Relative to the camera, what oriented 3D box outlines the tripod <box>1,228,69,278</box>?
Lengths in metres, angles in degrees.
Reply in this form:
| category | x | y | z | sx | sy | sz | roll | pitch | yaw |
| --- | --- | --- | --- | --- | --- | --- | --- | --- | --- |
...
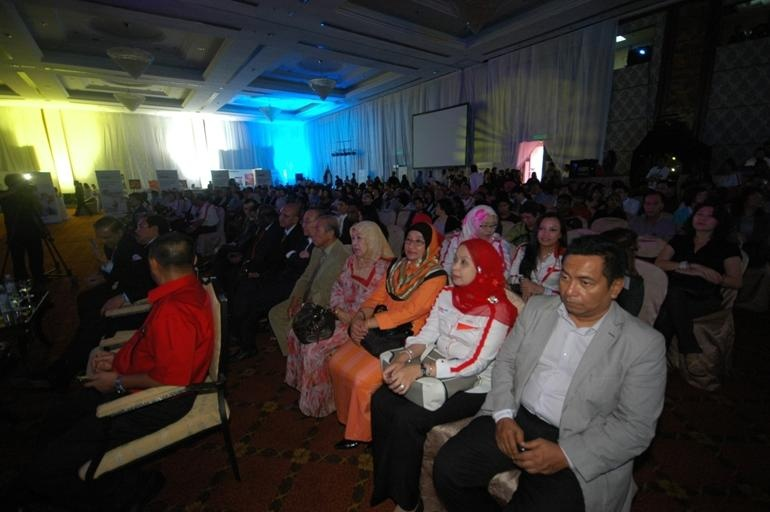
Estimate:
| category | x | y | z | sx | sy | sz | roll | pitch | yaw |
| --- | --- | --- | --- | --- | --- | --- | --- | --- | --- |
| tripod | -7.356 | -0.014 | 9.262 | 0.878 | 1.112 | 0.902 | 8 | 17 | 16 |

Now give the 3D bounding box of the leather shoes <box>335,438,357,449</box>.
| category | x | y | z | sx | sy | sz | roll | pitch | yaw |
| --- | --- | --- | --- | --- | --- | --- | --- | --- | --- |
| leather shoes | -0.449 | 2.190 | 5.155 | 0.319 | 0.129 | 0.104 | 0 | 17 | 1 |

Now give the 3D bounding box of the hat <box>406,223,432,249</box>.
| category | x | y | z | sx | sy | sz | roll | pitch | yaw |
| --- | --- | --- | --- | --- | --- | --- | --- | --- | --- |
| hat | 0.395 | -0.248 | 5.285 | 0.241 | 0.252 | 0.315 | 9 | -1 | -7 |

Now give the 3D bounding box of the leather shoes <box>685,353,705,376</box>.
| category | x | y | z | sx | sy | sz | roll | pitch | yaw |
| --- | --- | --- | --- | --- | --- | --- | --- | --- | --- |
| leather shoes | 3.969 | 1.402 | 5.681 | 0.211 | 0.259 | 0.089 | 3 | -12 | -4 |

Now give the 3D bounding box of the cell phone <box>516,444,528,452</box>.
| category | x | y | z | sx | sy | sz | roll | pitch | yaw |
| --- | --- | --- | --- | --- | --- | --- | --- | --- | --- |
| cell phone | 1.319 | 1.848 | 4.267 | 0.070 | 0.065 | 0.072 | 9 | 22 | 36 |

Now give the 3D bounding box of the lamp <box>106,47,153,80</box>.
| category | x | y | z | sx | sy | sz | roll | pitch | yaw |
| --- | --- | --- | --- | --- | --- | --- | --- | --- | --- |
| lamp | -6.566 | -5.097 | 11.490 | 0.814 | 0.382 | 0.789 | -3 | 6 | -7 |

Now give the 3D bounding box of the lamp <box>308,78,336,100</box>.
| category | x | y | z | sx | sy | sz | roll | pitch | yaw |
| --- | --- | --- | --- | --- | --- | --- | --- | --- | --- |
| lamp | -1.972 | -5.450 | 14.331 | 0.791 | 0.583 | 0.789 | 0 | 2 | 21 |

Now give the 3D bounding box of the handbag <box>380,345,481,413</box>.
| category | x | y | z | sx | sy | sz | roll | pitch | yaw |
| --- | --- | --- | --- | --- | --- | --- | --- | --- | --- |
| handbag | 0.504 | 1.141 | 4.448 | 0.696 | 0.267 | 0.692 | -29 | 35 | -29 |
